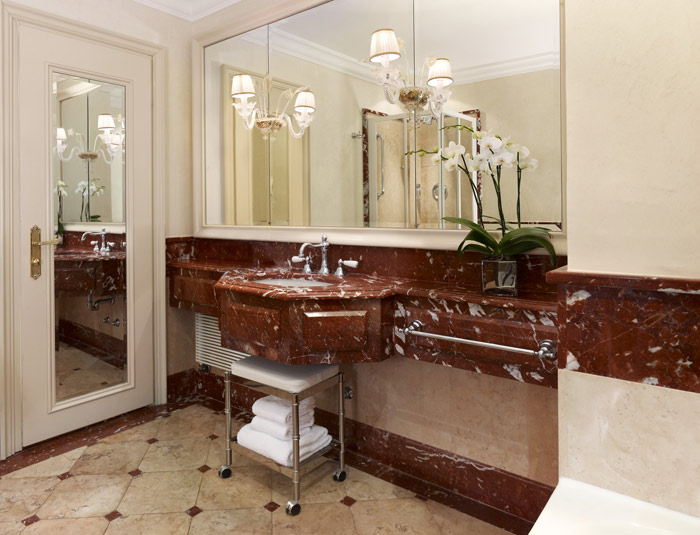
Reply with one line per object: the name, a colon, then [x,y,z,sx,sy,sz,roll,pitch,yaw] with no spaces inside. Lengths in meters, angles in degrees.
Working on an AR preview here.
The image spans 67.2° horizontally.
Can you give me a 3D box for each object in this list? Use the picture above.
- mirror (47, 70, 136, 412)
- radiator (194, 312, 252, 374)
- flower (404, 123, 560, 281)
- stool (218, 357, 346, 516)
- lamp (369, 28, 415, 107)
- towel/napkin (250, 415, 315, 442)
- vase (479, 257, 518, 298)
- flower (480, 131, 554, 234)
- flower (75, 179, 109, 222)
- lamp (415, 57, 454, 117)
mirror: [-1.566,-0.184,3.190,0.590,1.876,0.284,-9,14,-38]
radiator: [-0.858,0.517,3.628,0.423,0.452,0.104,1,3,39]
flower: [0.630,-0.318,2.485,0.562,0.846,0.673,-2,5,-5]
stool: [-0.282,0.826,2.997,0.704,0.843,0.618,2,2,37]
lamp: [0.239,-1.007,2.700,0.357,0.411,0.083,11,15,41]
towel/napkin: [-0.331,0.796,2.596,0.162,0.052,0.165,0,-5,39]
vase: [0.633,0.046,2.235,0.145,0.153,0.151,5,-6,-44]
flower: [0.692,-0.389,2.387,0.282,0.435,0.217,5,13,23]
flower: [-1.564,-0.407,3.186,0.041,0.259,0.183,7,13,28]
lamp: [0.375,-0.901,2.679,0.264,0.269,0.183,-2,-1,-5]
